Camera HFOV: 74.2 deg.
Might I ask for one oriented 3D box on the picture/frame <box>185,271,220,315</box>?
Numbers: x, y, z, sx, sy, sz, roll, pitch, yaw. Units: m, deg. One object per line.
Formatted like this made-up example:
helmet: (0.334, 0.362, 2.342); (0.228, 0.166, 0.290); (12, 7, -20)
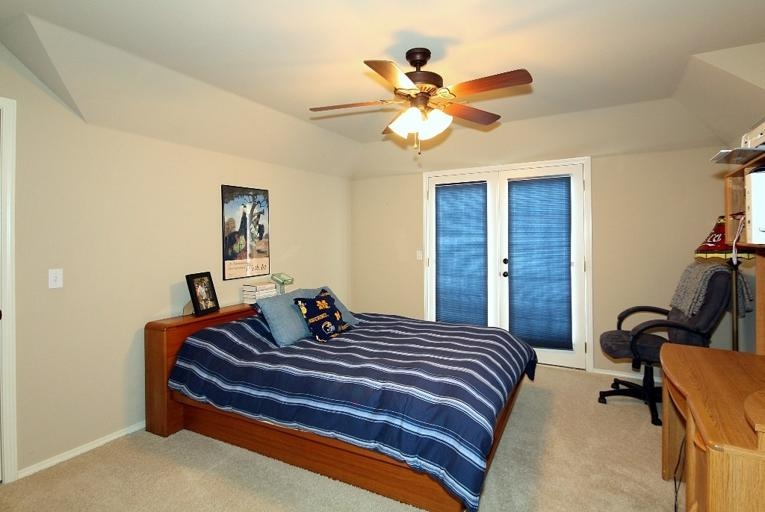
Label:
picture/frame: (-1.833, 0.383, 5.099); (0.074, 0.514, 0.406); (-17, -2, 25)

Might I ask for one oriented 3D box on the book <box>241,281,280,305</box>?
book: (-1.396, 0.392, 5.557); (0.255, 0.170, 0.336); (1, 1, 33)

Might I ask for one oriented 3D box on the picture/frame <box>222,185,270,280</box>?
picture/frame: (-1.537, -0.256, 5.698); (0.092, 1.029, 0.668); (0, 2, 30)

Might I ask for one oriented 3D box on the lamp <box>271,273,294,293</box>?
lamp: (-1.134, 0.300, 5.854); (0.256, 0.303, 0.245); (2, 4, 24)

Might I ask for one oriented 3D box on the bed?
bed: (-0.757, 1.271, 4.538); (2.251, 0.764, 1.935); (2, 2, 26)
